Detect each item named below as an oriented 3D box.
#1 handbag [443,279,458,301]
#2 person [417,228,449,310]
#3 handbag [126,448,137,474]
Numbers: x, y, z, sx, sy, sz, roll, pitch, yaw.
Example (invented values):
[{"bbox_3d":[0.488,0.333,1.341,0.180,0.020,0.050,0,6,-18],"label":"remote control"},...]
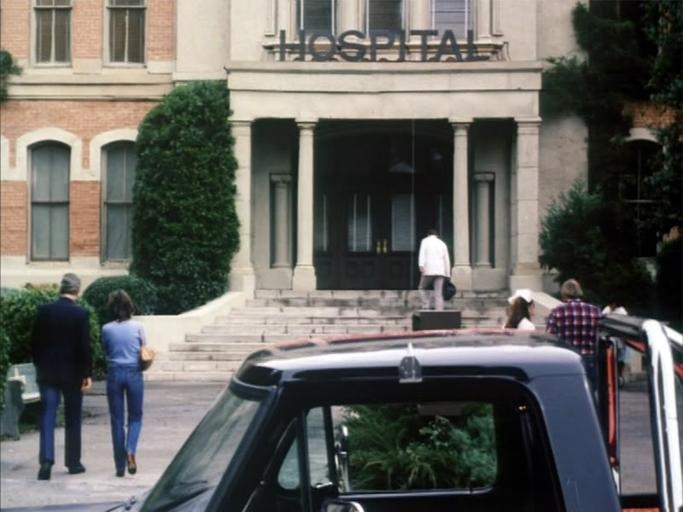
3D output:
[{"bbox_3d":[2.890,0.866,45.086,0.512,0.566,0.386,1,4,-5],"label":"handbag"},{"bbox_3d":[2.509,0.315,44.920,0.802,2.145,0.779,-1,1,2],"label":"person"},{"bbox_3d":[-4.587,4.526,36.572,0.159,0.492,0.196,-3,-5,-6],"label":"handbag"}]
